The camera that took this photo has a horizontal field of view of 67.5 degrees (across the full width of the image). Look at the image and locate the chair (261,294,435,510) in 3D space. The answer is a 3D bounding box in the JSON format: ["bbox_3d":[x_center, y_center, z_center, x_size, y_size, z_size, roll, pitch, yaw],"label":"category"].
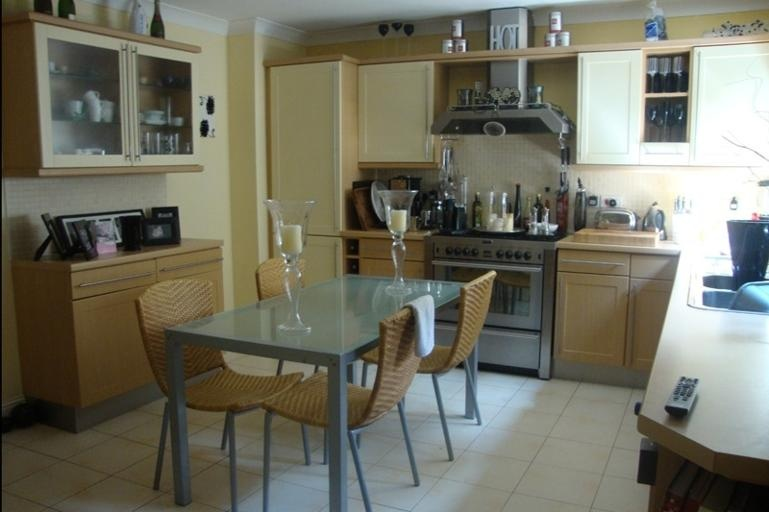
[{"bbox_3d":[-0.181,0.789,3.057,0.833,1.191,0.592,3,15,11],"label":"chair"}]

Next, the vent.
[{"bbox_3d":[1.057,-1.599,4.975,1.031,0.942,0.549,3,11,21],"label":"vent"}]

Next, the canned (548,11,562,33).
[{"bbox_3d":[1.438,-1.975,4.832,0.092,0.169,0.070,1,15,5],"label":"canned"}]

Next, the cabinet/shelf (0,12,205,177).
[{"bbox_3d":[-2.018,-1.132,4.026,0.580,1.203,1.692,6,9,28],"label":"cabinet/shelf"}]

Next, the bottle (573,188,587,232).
[{"bbox_3d":[1.722,-0.429,5.057,0.100,0.373,0.131,3,15,12],"label":"bottle"}]

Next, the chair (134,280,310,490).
[{"bbox_3d":[-0.908,0.653,3.860,1.137,1.650,1.036,2,4,30],"label":"chair"}]

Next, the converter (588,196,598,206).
[{"bbox_3d":[1.817,-0.488,5.020,0.076,0.114,0.081,-2,-4,31],"label":"converter"}]

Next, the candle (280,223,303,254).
[{"bbox_3d":[-0.473,-0.099,3.041,0.140,0.167,0.144,2,2,-2],"label":"candle"}]

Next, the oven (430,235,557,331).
[{"bbox_3d":[0.920,0.267,5.055,1.036,0.978,0.678,3,4,13],"label":"oven"}]

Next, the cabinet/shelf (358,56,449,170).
[{"bbox_3d":[0.199,-1.270,5.677,0.975,1.340,0.834,2,4,25],"label":"cabinet/shelf"}]

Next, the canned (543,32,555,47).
[{"bbox_3d":[1.394,-1.827,4.832,0.115,0.131,0.118,2,5,2],"label":"canned"}]

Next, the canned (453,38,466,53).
[{"bbox_3d":[0.668,-1.865,5.137,0.132,0.129,0.135,1,3,18],"label":"canned"}]

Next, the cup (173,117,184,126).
[{"bbox_3d":[-1.650,-1.084,4.582,0.066,0.052,0.066,4,8,-1],"label":"cup"}]

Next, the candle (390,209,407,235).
[{"bbox_3d":[0.086,-0.217,3.597,0.135,0.158,0.131,-1,7,-14],"label":"candle"}]

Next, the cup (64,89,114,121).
[{"bbox_3d":[-2.060,-1.049,4.007,0.147,0.207,0.237,-3,-4,17],"label":"cup"}]
